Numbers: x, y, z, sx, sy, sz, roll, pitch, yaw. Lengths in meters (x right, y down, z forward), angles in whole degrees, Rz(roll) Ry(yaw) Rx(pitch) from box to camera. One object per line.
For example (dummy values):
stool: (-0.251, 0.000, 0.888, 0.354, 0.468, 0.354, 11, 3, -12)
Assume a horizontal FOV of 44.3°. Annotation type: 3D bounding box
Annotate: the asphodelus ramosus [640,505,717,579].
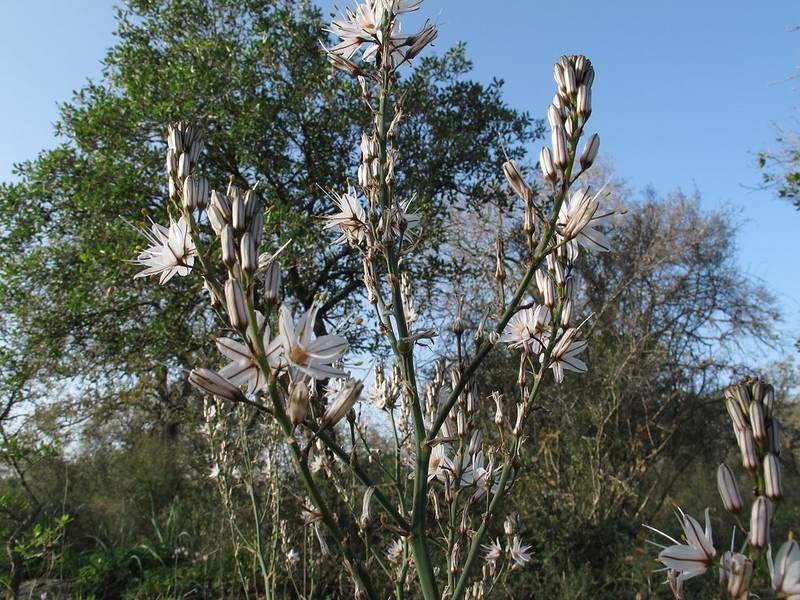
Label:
asphodelus ramosus: (3.275, 2.726, 10.988, 0.518, 1.079, 0.558, -1, -4, 0)
